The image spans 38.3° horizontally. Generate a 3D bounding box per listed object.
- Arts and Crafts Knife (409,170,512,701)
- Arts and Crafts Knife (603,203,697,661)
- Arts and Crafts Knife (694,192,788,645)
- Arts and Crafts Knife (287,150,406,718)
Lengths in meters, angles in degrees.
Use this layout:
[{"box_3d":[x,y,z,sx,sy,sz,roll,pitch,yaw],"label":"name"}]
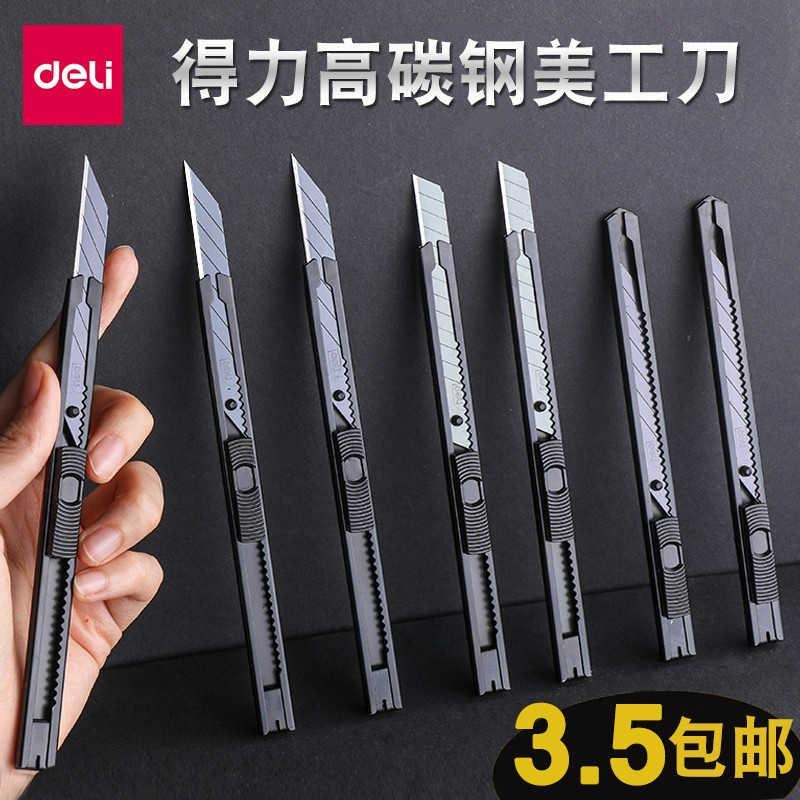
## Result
[{"box_3d":[0.106,0.108,1.911,0.112,0.752,0.035,-3,-5,1],"label":"Arts and Crafts Knife"},{"box_3d":[0.432,0.053,1.994,0.110,0.785,0.039,-3,-5,8],"label":"Arts and Crafts Knife"},{"box_3d":[0.601,0.031,2.037,0.112,0.792,0.050,0,-5,-27],"label":"Arts and Crafts Knife"},{"box_3d":[-0.089,0.047,1.908,0.146,0.925,0.082,-2,-5,-8],"label":"Arts and Crafts Knife"}]
